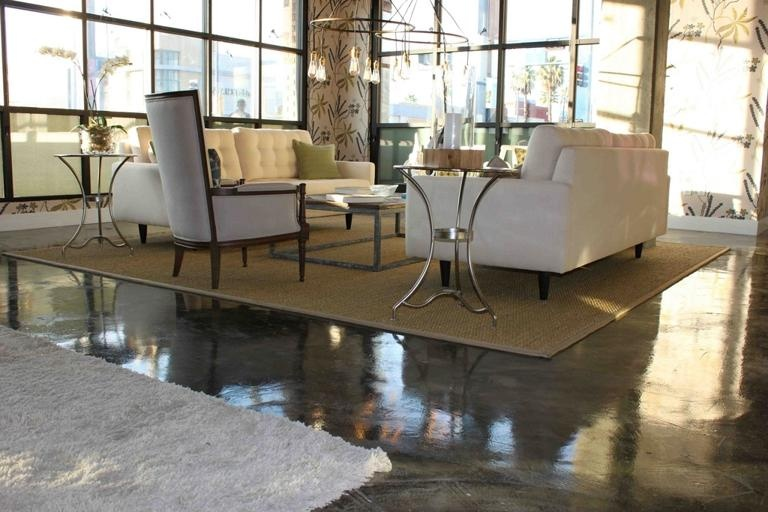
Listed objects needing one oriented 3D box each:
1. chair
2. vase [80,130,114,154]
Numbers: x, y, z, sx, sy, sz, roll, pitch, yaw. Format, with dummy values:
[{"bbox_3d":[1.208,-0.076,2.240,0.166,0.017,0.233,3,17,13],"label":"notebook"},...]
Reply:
[{"bbox_3d":[-1.128,-0.480,4.174,1.026,1.275,1.081,4,8,19],"label":"chair"},{"bbox_3d":[-2.404,-0.934,4.744,0.235,0.166,0.235,6,9,28],"label":"vase"}]
